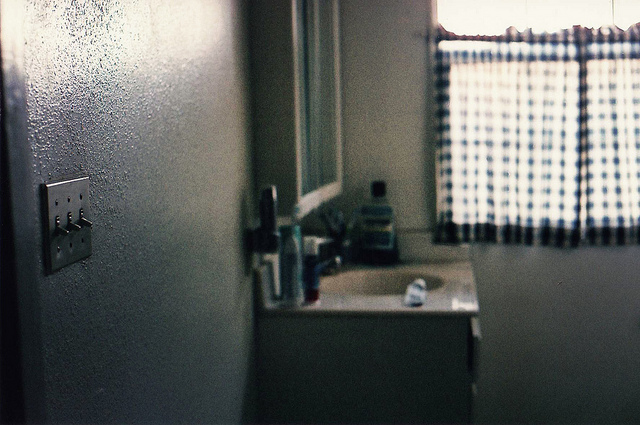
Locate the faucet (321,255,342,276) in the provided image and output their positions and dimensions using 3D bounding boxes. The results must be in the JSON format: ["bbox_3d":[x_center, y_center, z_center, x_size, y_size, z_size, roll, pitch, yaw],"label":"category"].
[{"bbox_3d":[0.060,0.251,2.839,0.103,0.093,0.172,-3,5,0],"label":"faucet"}]

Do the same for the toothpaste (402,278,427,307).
[{"bbox_3d":[0.419,0.329,2.574,0.094,0.069,0.175,-6,24,21],"label":"toothpaste"}]

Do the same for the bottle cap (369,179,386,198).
[{"bbox_3d":[0.289,-0.118,2.990,0.088,0.097,0.071,1,10,8],"label":"bottle cap"}]

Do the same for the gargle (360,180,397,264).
[{"bbox_3d":[0.287,0.047,2.934,0.186,0.400,0.106,-2,3,6],"label":"gargle"}]
